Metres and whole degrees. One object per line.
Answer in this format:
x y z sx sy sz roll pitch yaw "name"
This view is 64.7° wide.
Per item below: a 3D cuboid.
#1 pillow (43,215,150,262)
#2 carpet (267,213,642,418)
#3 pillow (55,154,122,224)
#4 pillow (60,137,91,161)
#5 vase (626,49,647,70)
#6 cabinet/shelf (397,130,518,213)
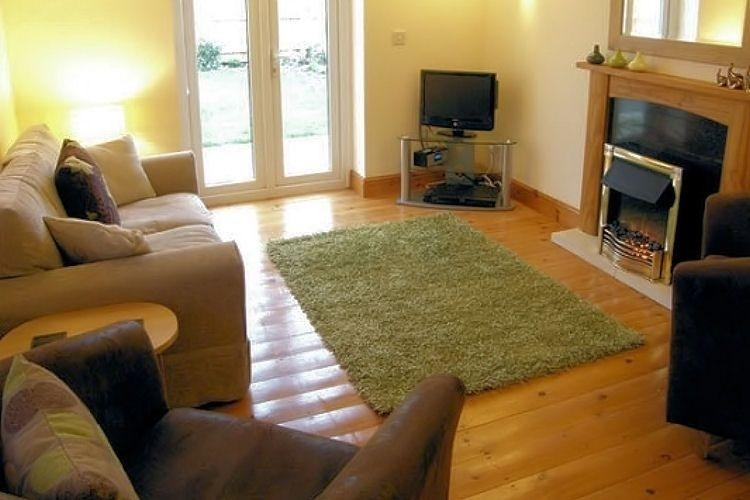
-1.375 -0.066 2.882 0.288 0.101 0.278 0 20 -11 "pillow"
0.505 0.381 3.644 1.269 0.079 1.460 -10 28 -24 "carpet"
-1.535 -0.472 3.253 0.328 0.417 0.585 -1 17 -21 "pillow"
-1.762 -0.587 3.442 0.166 0.078 0.197 -10 21 -33 "pillow"
1.775 -1.289 4.033 0.146 0.119 0.141 -8 15 -4 "vase"
0.760 -0.727 5.563 0.986 0.485 0.741 2 26 6 "cabinet/shelf"
